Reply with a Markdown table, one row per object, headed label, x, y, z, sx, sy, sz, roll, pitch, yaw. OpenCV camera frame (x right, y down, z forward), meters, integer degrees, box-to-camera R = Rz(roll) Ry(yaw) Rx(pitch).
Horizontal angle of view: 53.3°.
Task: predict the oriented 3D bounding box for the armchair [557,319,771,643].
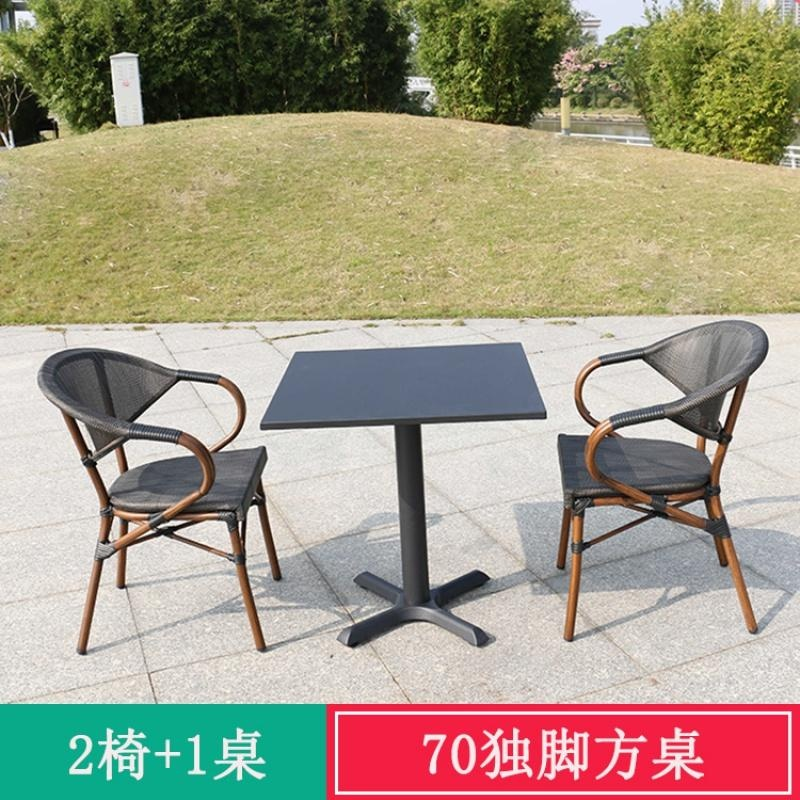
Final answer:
| label | x | y | z | sx | sy | sz | roll | pitch | yaw |
| --- | --- | --- | --- | --- | --- | --- | --- | --- | --- |
| armchair | 0.987 | 0.234 | 3.058 | 0.740 | 1.030 | 0.976 | 2 | 25 | 6 |

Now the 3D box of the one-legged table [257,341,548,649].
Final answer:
| label | x | y | z | sx | sy | sz | roll | pitch | yaw |
| --- | --- | --- | --- | --- | --- | --- | --- | --- | --- |
| one-legged table | 0.011 | 0.319 | 3.145 | 0.970 | 0.968 | 0.986 | 0 | 25 | 2 |
